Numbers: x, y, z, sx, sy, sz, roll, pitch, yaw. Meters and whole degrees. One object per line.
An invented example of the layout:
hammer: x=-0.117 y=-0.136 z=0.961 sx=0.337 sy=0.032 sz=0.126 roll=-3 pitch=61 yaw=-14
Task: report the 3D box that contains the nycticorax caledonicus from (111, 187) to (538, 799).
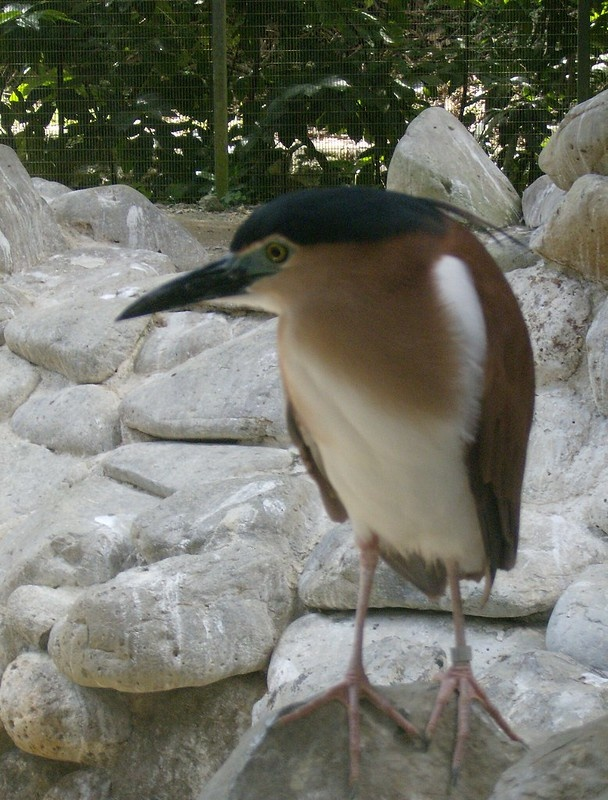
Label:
nycticorax caledonicus: x=-0.377 y=0.139 z=3.428 sx=1.011 sy=1.225 sz=1.544 roll=3 pitch=18 yaw=17
